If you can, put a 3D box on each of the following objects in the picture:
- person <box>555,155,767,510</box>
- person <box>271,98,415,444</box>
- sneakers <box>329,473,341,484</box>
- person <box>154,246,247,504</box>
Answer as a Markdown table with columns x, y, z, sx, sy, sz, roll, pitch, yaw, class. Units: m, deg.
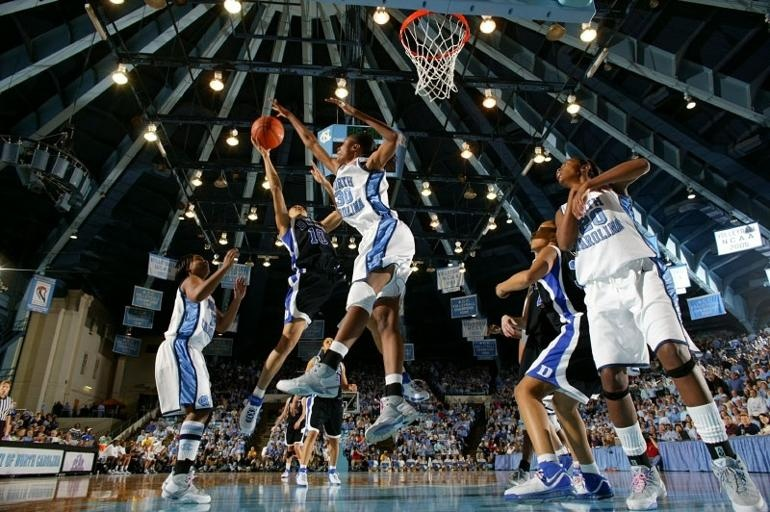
| x | y | z | sx | sy | sz | roll | pitch | yaw | class |
| --- | --- | --- | --- | --- | --- | --- | --- | --- | --- |
| 2.372 | 0.489 | 4.087 | 0.961 | 3.447 | 1.376 | -11 | -31 | 11 | person |
| -0.180 | 0.077 | 4.553 | 1.042 | 3.363 | 1.455 | 12 | -35 | -27 | person |
| -1.019 | 4.555 | 8.744 | 0.153 | 0.184 | 0.445 | 5 | -7 | 6 | sneakers |
| -2.347 | 1.263 | 5.353 | 0.949 | 3.248 | 1.402 | 9 | -33 | -22 | person |
